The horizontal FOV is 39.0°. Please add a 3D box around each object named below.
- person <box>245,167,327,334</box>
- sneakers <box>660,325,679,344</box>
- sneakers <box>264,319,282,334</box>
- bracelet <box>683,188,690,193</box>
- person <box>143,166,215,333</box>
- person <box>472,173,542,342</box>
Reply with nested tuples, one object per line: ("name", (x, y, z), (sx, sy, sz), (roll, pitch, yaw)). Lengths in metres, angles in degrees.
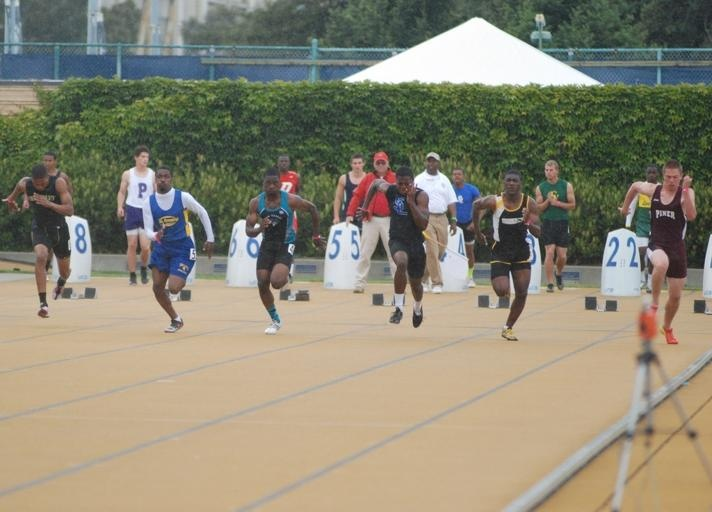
("person", (-1.143, -0.082, 15.475), (1.046, 2.507, 1.268), (1, 5, -3))
("sneakers", (4.552, 1.086, 14.541), (0.122, 0.386, 0.143), (-11, -31, -10))
("sneakers", (-1.250, 1.067, 15.345), (0.117, 0.167, 0.352), (2, 5, 12))
("bracelet", (4.794, -0.948, 14.464), (0.162, 0.059, 0.080), (-5, 9, -44))
("person", (-2.791, -0.111, 15.593), (1.005, 2.498, 0.950), (0, 5, -14))
("person", (2.259, -0.028, 15.045), (0.802, 2.514, 1.094), (1, 5, -4))
